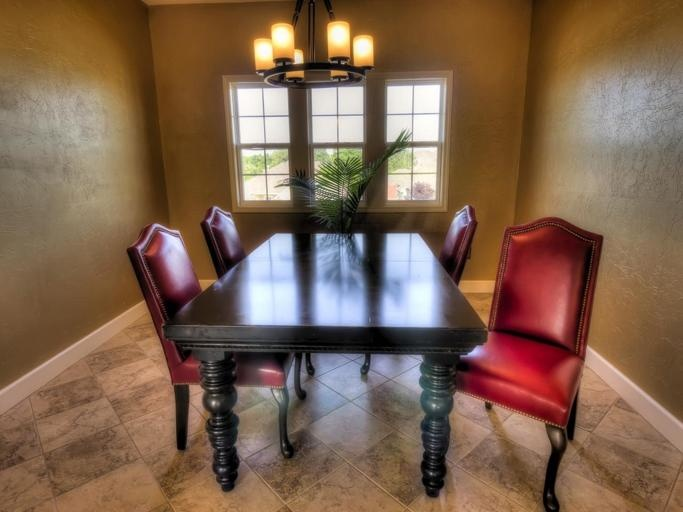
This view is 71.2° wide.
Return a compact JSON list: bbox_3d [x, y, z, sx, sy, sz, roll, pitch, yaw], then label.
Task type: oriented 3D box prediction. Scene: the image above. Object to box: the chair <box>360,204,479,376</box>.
[{"bbox_3d":[0.522,0.071,4.081,1.087,1.893,1.057,2,14,7],"label":"chair"}]
